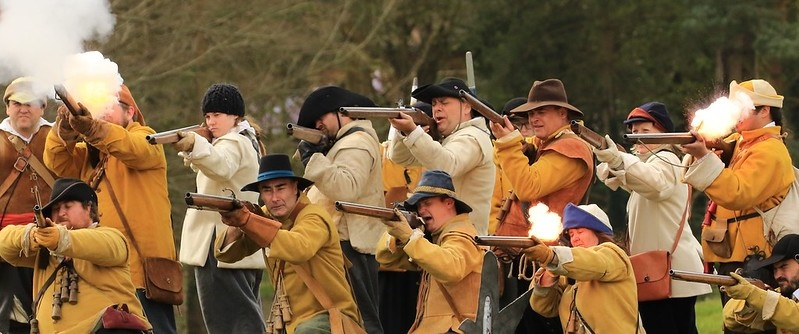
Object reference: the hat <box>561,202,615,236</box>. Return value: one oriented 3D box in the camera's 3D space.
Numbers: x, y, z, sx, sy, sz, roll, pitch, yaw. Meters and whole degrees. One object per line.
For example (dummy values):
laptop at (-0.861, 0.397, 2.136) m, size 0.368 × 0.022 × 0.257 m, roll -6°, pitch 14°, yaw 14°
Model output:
hat at (4.398, 1.232, 31.030) m, size 1.144 × 0.453 × 0.726 m, roll 9°, pitch -6°, yaw -5°

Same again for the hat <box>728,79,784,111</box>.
hat at (8.578, -1.668, 32.231) m, size 1.389 × 0.506 × 0.959 m, roll 3°, pitch 1°, yaw -16°

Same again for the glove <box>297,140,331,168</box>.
glove at (-2.044, -0.284, 31.627) m, size 0.545 × 0.595 × 0.316 m, roll 11°, pitch -1°, yaw 40°

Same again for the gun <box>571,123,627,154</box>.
gun at (4.450, -0.713, 31.407) m, size 0.885 × 0.698 × 0.336 m, roll -2°, pitch -5°, yaw -35°

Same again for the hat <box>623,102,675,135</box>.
hat at (6.190, -1.210, 32.502) m, size 1.164 × 0.485 × 0.713 m, roll 9°, pitch -8°, yaw -6°

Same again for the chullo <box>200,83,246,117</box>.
chullo at (-4.266, -1.588, 32.080) m, size 1.024 × 0.645 × 0.893 m, roll 2°, pitch -3°, yaw -5°

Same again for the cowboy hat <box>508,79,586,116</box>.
cowboy hat at (3.513, -1.742, 32.110) m, size 1.758 × 0.664 × 1.213 m, roll -4°, pitch 9°, yaw 1°

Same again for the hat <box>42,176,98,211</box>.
hat at (-7.737, 0.623, 31.171) m, size 1.020 × 0.332 × 0.857 m, roll -5°, pitch -9°, yaw -46°
